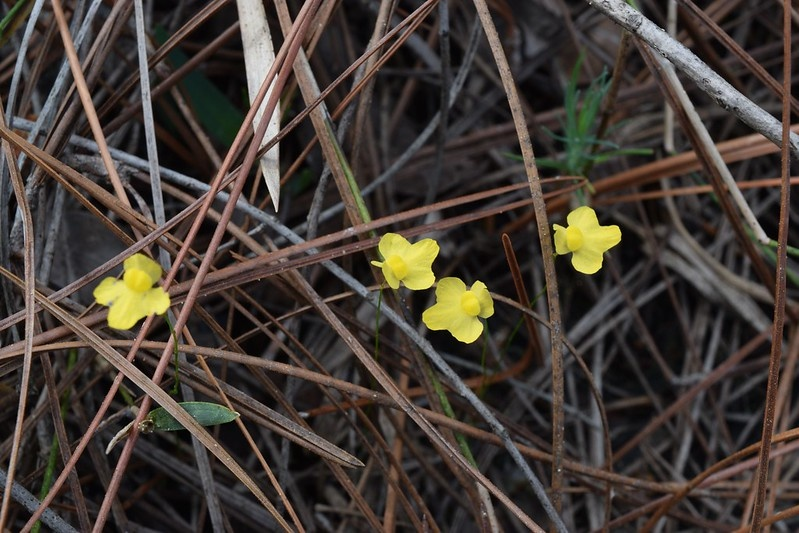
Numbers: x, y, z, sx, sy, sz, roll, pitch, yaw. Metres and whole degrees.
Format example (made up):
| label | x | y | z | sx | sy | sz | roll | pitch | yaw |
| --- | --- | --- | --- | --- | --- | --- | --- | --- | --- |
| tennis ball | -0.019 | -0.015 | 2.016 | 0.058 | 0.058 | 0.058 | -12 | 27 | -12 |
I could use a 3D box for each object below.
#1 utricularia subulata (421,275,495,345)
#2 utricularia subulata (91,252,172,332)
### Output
| label | x | y | z | sx | sy | sz | roll | pitch | yaw |
| --- | --- | --- | --- | --- | --- | --- | --- | --- | --- |
| utricularia subulata | 0.130 | 0.087 | 1.901 | 0.135 | 0.121 | 0.111 | 11 | 50 | 21 |
| utricularia subulata | -0.543 | 0.033 | 1.777 | 0.115 | 0.063 | 0.156 | 16 | 42 | -8 |
